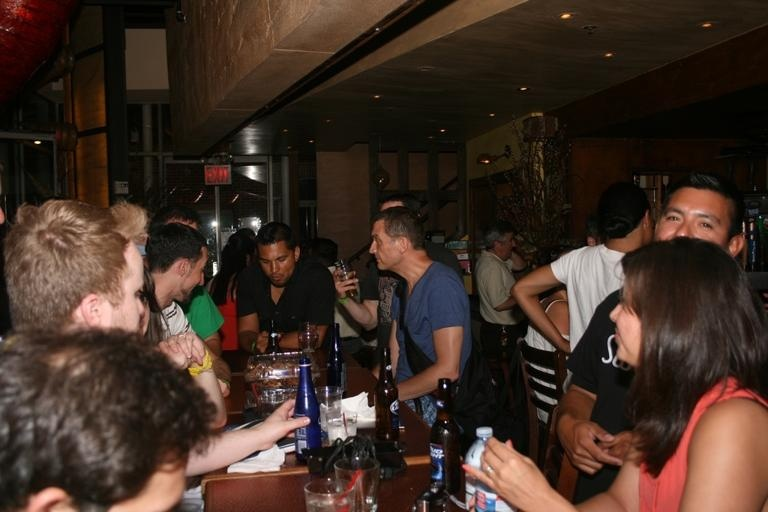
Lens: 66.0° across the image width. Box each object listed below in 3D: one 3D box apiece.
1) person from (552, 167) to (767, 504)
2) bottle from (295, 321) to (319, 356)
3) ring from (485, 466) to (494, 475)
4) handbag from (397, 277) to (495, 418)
[{"bbox_3d":[1.175,0.540,2.565,0.560,1.626,0.642,-3,15,-16],"label":"person"},{"bbox_3d":[-0.432,0.485,3.528,0.174,0.229,0.176,3,1,0],"label":"bottle"},{"bbox_3d":[0.333,0.682,1.883,0.010,0.022,0.028,-15,43,-39],"label":"ring"},{"bbox_3d":[0.413,0.574,3.473,0.442,0.805,0.596,-19,-3,5],"label":"handbag"}]
